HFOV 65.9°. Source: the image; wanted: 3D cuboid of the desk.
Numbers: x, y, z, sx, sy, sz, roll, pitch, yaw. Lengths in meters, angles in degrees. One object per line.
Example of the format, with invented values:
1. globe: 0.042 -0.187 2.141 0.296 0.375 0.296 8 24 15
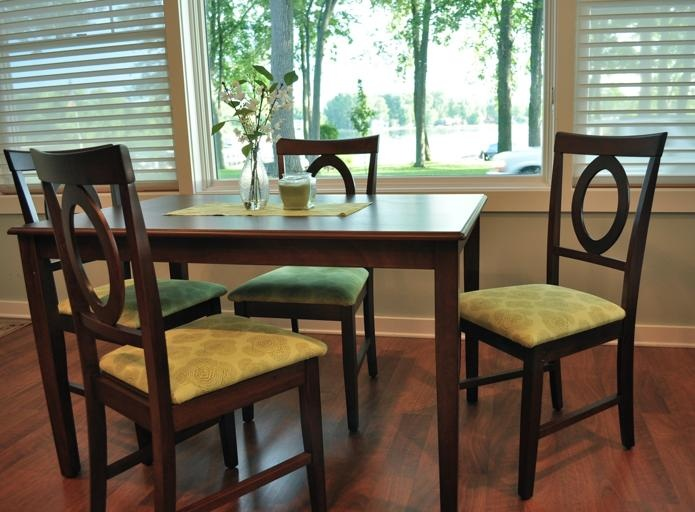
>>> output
1. desk: -0.022 0.343 2.331 1.607 0.916 1.148 0 12 13

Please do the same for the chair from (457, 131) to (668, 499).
1. chair: 0.817 0.140 2.092 0.875 1.206 0.640 -12 21 -28

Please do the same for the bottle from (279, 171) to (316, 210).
1. bottle: -0.202 -0.259 2.123 0.152 0.154 0.155 -1 6 8
